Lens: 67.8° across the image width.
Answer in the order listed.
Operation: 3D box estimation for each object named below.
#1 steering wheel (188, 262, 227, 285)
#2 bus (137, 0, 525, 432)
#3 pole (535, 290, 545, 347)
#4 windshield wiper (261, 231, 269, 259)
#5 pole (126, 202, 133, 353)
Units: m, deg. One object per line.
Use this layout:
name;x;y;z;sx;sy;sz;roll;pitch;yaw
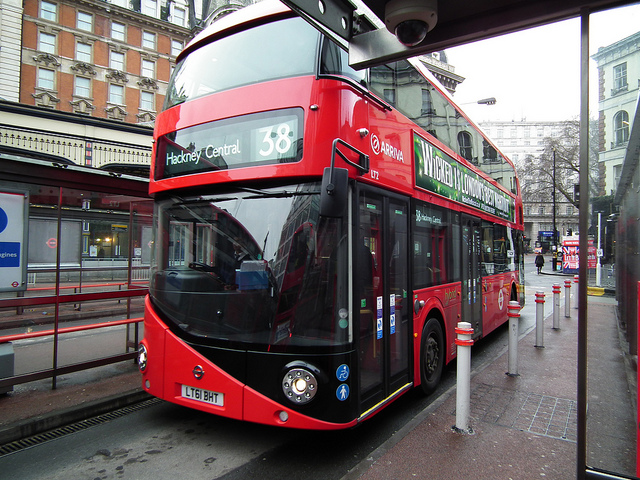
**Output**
steering wheel;-1.474;0.429;6.236;0.659;0.239;0.039;5;9;31
bus;0.517;-0.377;7.184;5.956;6.025;2.582;-6;10;-38
pole;4.985;1.799;10.786;0.185;1.314;0.567;4;8;25
windshield wiper;-0.682;0.063;5.925;0.047;0.332;0.092;5;9;31
pole;-3.743;0.903;9.421;0.159;3.852;0.179;0;27;-20
